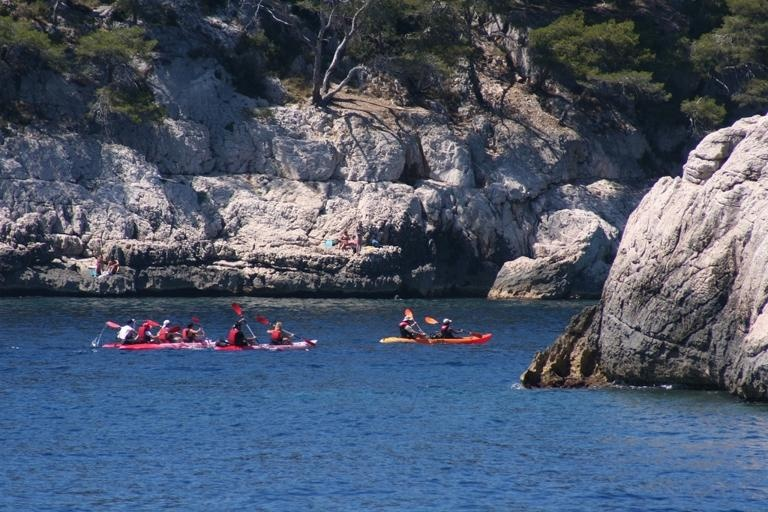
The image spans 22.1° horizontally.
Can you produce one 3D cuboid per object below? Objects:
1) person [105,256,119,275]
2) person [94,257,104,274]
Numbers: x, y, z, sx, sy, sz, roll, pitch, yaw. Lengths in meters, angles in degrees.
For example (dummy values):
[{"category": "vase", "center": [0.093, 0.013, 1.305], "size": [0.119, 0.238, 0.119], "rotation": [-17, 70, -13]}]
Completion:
[{"category": "person", "center": [-21.211, 0.778, 152.633], "size": [0.902, 1.351, 0.729], "rotation": [7, 1, -7]}, {"category": "person", "center": [-22.303, 0.741, 152.690], "size": [0.681, 1.475, 1.014], "rotation": [7, 1, -10]}]
